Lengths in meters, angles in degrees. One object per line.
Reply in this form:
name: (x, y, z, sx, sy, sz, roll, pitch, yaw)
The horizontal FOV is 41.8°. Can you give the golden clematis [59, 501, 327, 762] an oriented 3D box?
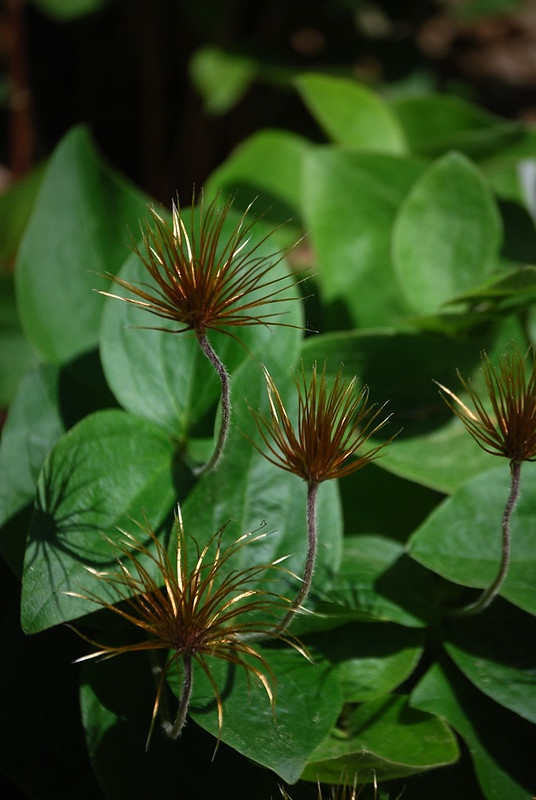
golden clematis: (-0.042, 0.113, 0.329, 0.103, 0.095, 0.050, -25, 52, -28)
